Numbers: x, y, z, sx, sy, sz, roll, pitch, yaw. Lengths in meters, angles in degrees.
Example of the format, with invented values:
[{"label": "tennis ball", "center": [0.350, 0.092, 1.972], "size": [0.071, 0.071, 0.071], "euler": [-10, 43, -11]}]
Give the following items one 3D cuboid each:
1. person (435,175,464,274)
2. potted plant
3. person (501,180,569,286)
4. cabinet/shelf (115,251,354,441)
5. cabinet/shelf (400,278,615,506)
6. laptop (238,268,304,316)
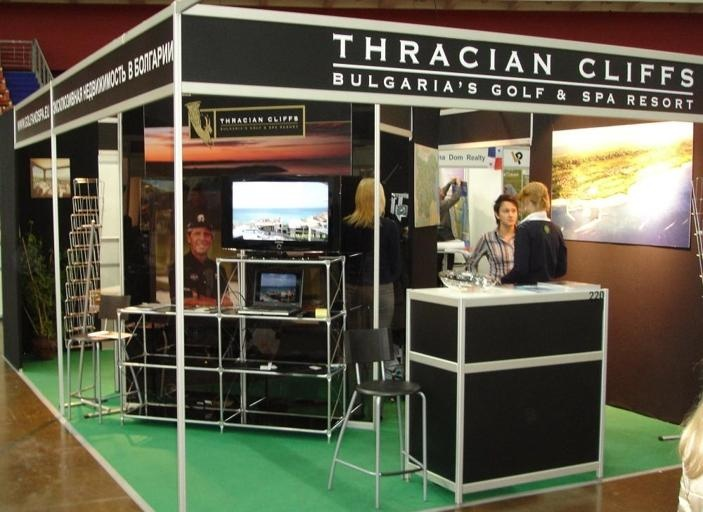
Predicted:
[{"label": "person", "center": [1.271, -0.607, 8.077], "size": [0.385, 0.797, 0.101], "euler": [-2, 3, -34]}, {"label": "potted plant", "center": [-4.455, 0.481, 8.849], "size": [0.429, 1.960, 0.373], "euler": [-2, 3, -24]}, {"label": "person", "center": [1.737, -0.220, 5.896], "size": [0.736, 0.962, 0.426], "euler": [-3, 4, -38]}, {"label": "cabinet/shelf", "center": [-1.076, 0.940, 6.160], "size": [1.790, 1.323, 0.577], "euler": [0, -3, 16]}, {"label": "cabinet/shelf", "center": [1.296, 1.055, 5.046], "size": [1.557, 1.574, 0.442], "euler": [-1, 3, -16]}, {"label": "laptop", "center": [-0.741, 0.333, 6.051], "size": [0.618, 0.412, 0.424], "euler": [2, 2, 11]}]
